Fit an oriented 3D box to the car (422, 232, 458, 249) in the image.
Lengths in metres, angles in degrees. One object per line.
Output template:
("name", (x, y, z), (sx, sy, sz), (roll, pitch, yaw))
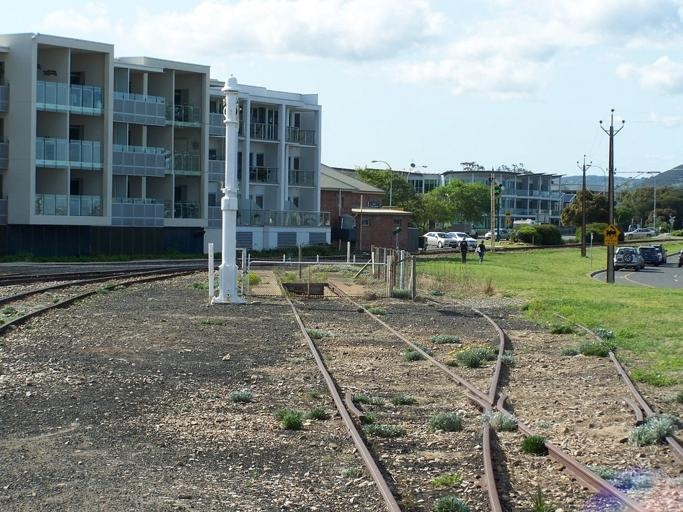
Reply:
("car", (11.896, -1.991, 83.426), (1.795, 1.510, 4.348), (1, -3, -23))
